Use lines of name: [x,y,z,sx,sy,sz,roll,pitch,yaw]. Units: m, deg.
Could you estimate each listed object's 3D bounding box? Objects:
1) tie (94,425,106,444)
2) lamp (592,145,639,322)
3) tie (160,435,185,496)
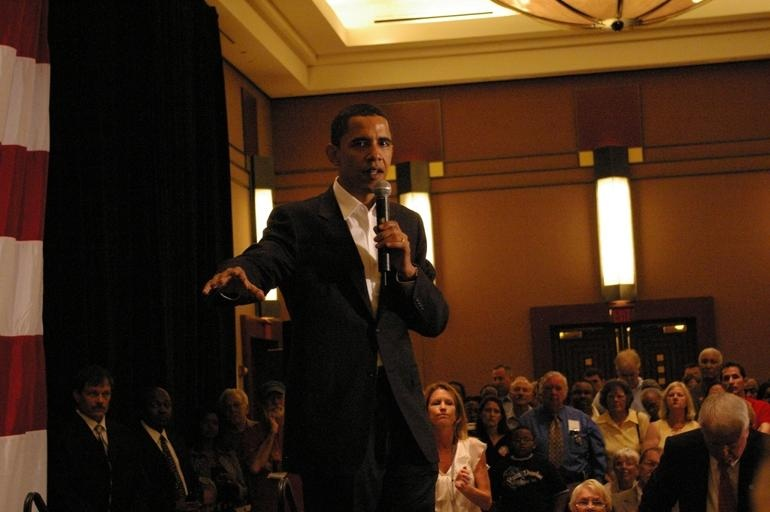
tie: [-2.066,1.267,6.044,0.083,0.130,0.040,-9,-3,-29]
lamp: [2.490,-0.249,8.940,0.408,1.869,0.363,-2,-6,15]
tie: [-1.632,1.583,6.361,0.067,0.434,0.107,-21,-6,17]
